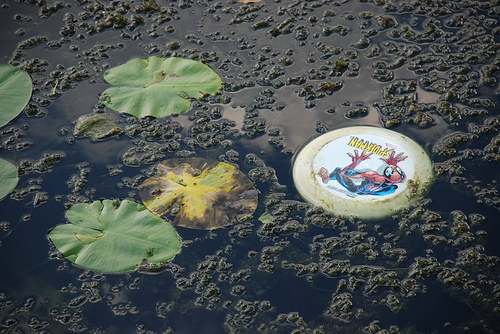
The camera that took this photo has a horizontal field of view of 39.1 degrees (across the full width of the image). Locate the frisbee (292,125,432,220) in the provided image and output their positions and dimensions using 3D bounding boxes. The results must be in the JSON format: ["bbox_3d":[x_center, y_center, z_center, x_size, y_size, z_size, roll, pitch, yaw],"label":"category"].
[{"bbox_3d":[0.388,0.023,2.440,0.464,0.080,0.336,4,70,14],"label":"frisbee"}]
